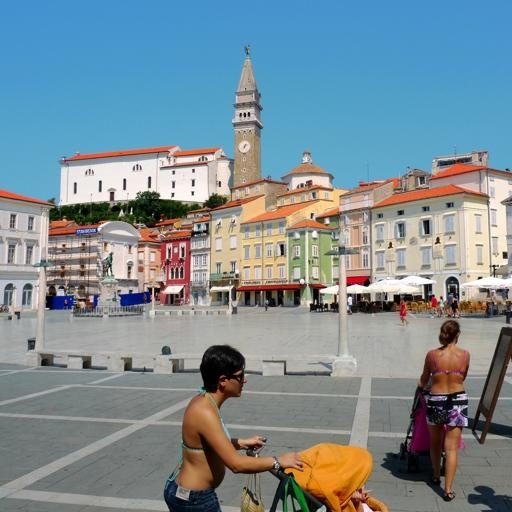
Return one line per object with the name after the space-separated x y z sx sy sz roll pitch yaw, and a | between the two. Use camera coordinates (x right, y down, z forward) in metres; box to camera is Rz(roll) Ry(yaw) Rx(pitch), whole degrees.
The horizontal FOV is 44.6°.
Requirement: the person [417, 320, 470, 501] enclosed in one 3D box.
1.858 1.463 6.190 0.491 1.625 0.819 -1 -4 17 | person

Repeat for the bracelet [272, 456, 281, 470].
0.136 1.374 4.116 0.017 0.064 0.050 -22 -39 -6 | bracelet

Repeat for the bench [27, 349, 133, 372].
-3.849 2.408 14.655 2.833 0.441 1.608 -2 -4 22 | bench
